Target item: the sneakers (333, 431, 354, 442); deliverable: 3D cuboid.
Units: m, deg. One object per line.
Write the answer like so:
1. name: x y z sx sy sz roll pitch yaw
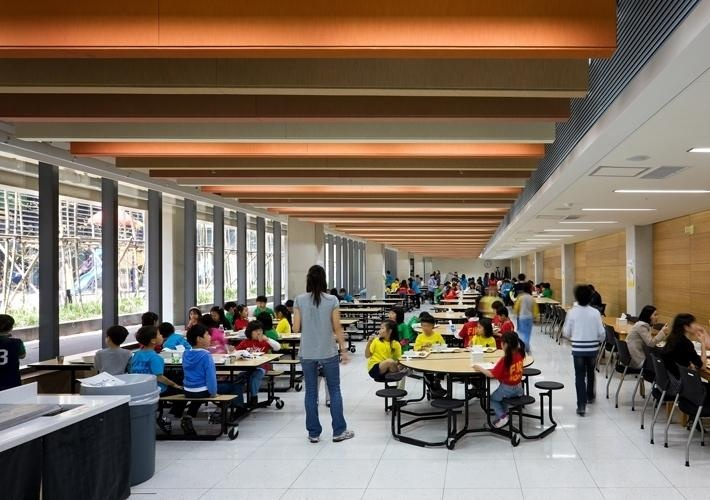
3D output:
1. sneakers: -0.136 2.305 6.655 0.251 0.108 0.104 -3 1 -31

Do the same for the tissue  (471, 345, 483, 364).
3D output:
1. tissue : 1.626 1.383 6.988 0.173 0.241 0.179 -1 0 4

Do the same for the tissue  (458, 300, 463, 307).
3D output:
1. tissue : 3.398 1.697 17.016 0.143 0.157 0.152 2 -4 8

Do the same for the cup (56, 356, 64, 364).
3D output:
1. cup: -4.220 1.569 7.623 0.079 0.082 0.101 -2 -5 18

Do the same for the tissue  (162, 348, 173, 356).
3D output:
1. tissue : -2.644 1.436 7.526 0.121 0.099 0.094 -6 2 12

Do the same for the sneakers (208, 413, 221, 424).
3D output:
1. sneakers: -1.915 2.314 7.328 0.104 0.130 0.286 1 -2 0

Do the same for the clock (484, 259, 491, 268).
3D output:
1. clock: 12.343 1.176 49.038 0.737 0.698 0.407 -1 2 -18
